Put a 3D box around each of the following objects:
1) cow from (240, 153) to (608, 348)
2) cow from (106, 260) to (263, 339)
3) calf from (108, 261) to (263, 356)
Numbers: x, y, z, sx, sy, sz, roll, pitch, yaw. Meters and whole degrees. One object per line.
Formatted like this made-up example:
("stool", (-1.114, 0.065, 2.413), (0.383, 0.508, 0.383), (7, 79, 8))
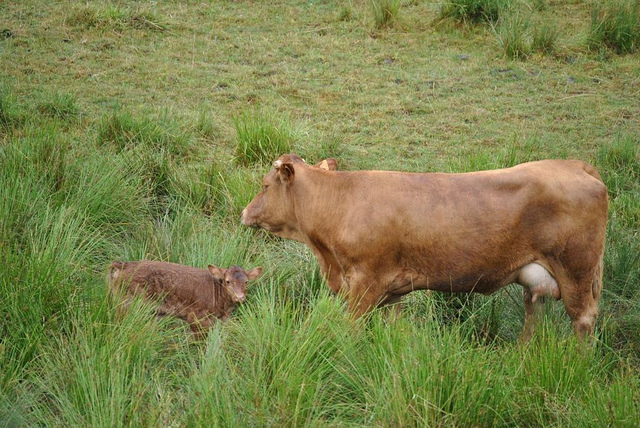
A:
("cow", (1.475, 0.314, 8.296), (4.390, 2.784, 1.617), (3, 0, 12))
("cow", (-1.574, 1.070, 7.985), (1.597, 1.028, 0.578), (3, 3, -9))
("calf", (-1.477, 0.969, 7.671), (1.586, 0.802, 0.899), (-2, 23, -23))
